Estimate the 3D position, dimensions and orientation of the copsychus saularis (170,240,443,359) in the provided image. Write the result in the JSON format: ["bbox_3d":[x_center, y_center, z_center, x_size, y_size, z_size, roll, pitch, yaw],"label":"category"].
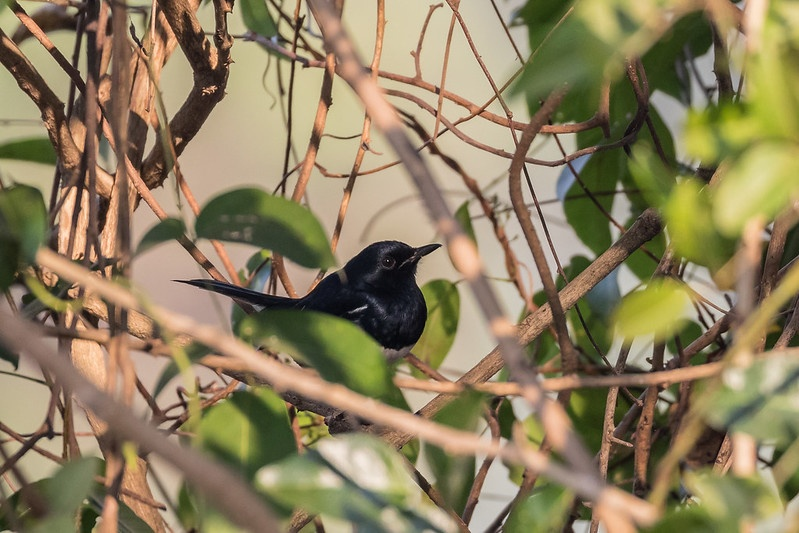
[{"bbox_3d":[-0.199,0.078,2.316,0.703,0.373,0.244,-2,-5,2],"label":"copsychus saularis"}]
